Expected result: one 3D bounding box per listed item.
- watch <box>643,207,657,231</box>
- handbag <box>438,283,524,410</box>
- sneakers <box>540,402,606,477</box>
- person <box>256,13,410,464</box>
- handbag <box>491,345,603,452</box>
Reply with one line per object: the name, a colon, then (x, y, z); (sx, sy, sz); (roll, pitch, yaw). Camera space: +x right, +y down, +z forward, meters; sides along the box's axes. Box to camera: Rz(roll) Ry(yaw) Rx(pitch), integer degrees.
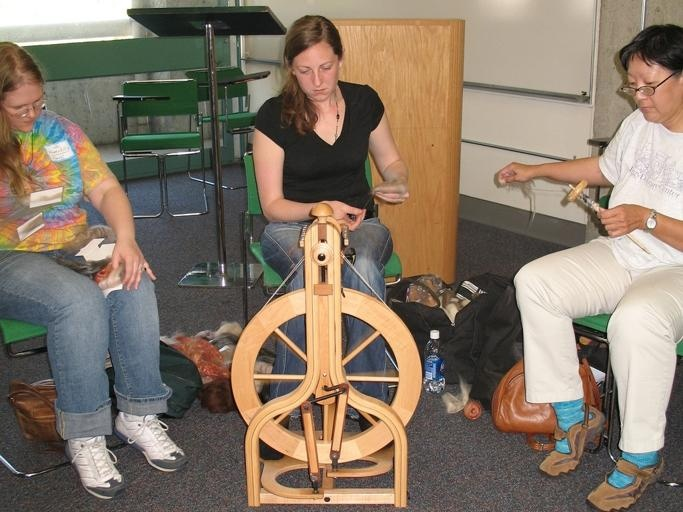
watch: (1.072, -0.117, 2.040); (0.036, 0.065, 0.061); (8, 4, 6)
handbag: (0.626, 0.402, 2.569); (0.186, 0.506, 0.398); (6, -7, -25)
sneakers: (0.871, 0.695, 2.217); (0.117, 0.247, 0.081); (32, 1, -26)
person: (-0.054, -0.131, 2.398); (0.644, 1.613, 0.942); (0, 19, 6)
handbag: (0.796, 0.551, 2.410); (0.370, 0.379, 0.353); (-4, -2, -22)
